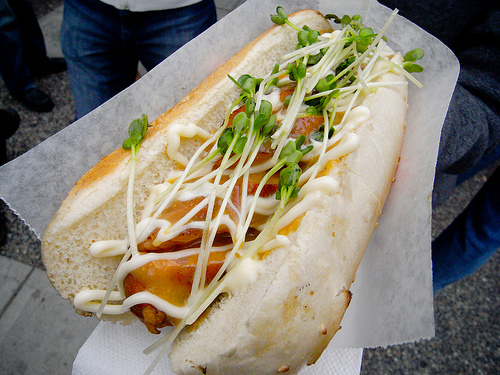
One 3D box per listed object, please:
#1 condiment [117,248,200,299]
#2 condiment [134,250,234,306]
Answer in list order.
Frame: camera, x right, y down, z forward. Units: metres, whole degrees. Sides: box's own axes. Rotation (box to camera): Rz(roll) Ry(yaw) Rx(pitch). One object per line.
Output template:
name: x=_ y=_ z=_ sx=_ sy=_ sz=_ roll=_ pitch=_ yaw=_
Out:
condiment: x=-0.526 y=0.377 z=2.518 sx=0.379 sy=0.202 sz=0.200 roll=-9 pitch=108 yaw=-19
condiment: x=-0.434 y=0.463 z=2.509 sx=0.310 sy=0.113 sz=0.235 roll=4 pitch=64 yaw=-8
